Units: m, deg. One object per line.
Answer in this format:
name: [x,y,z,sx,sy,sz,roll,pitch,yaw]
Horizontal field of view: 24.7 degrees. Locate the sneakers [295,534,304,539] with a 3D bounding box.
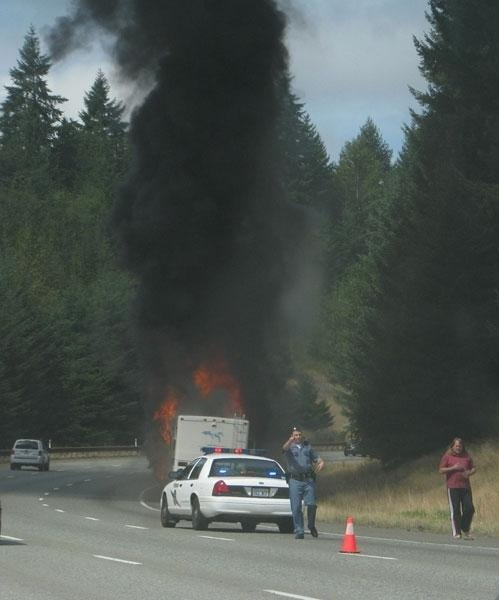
sneakers: [0.871,4.060,19.513,0.139,0.091,0.192,2,-11,-3]

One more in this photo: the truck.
truck: [-1.142,4.177,33.356,2.026,1.402,1.339,0,1,-15]

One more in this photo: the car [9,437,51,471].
car: [-10.243,7.216,52.834,1.685,1.448,2.485,2,-11,-5]

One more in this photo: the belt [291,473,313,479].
belt: [0.929,3.046,19.706,0.387,0.149,0.116,4,-10,-11]

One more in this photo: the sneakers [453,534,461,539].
sneakers: [3.665,4.131,19.854,0.124,0.094,0.129,0,-11,6]

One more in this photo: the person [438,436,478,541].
person: [3.740,3.333,20.294,0.583,1.805,1.315,0,-10,11]
